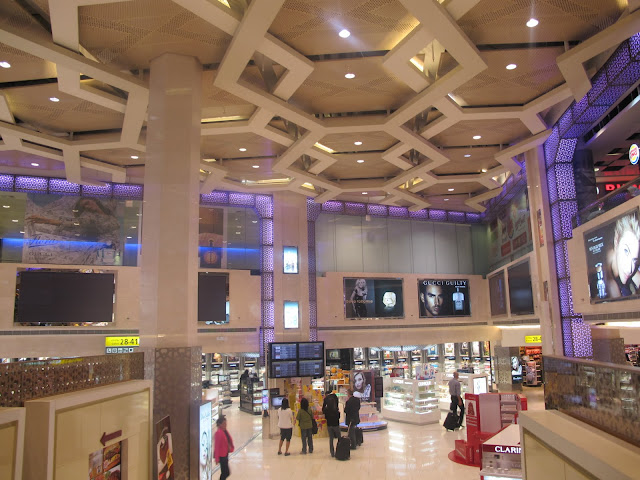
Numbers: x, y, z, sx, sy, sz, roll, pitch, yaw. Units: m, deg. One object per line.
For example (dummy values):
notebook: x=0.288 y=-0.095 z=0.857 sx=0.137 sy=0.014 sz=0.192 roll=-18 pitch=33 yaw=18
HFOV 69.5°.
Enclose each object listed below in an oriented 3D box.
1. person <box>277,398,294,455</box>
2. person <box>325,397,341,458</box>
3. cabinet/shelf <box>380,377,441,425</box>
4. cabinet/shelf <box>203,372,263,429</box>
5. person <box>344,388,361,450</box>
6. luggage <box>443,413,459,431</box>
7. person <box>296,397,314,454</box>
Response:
person: x=-0.923 y=4.966 z=12.447 sx=0.425 sy=1.401 sz=0.972 roll=0 pitch=-11 yaw=-4
person: x=0.325 y=4.847 z=12.115 sx=0.404 sy=1.451 sz=0.909 roll=-1 pitch=-11 yaw=0
cabinet/shelf: x=3.109 y=5.400 z=15.642 sx=0.991 sy=1.443 sz=1.666 roll=6 pitch=-13 yaw=-34
cabinet/shelf: x=-3.222 y=5.930 z=17.356 sx=2.101 sy=1.374 sz=5.815 roll=1 pitch=-12 yaw=-11
person: x=0.927 y=4.949 z=12.559 sx=0.422 sy=1.320 sz=0.425 roll=1 pitch=-11 yaw=-10
luggage: x=4.019 y=5.501 z=13.989 sx=0.483 sy=0.534 sz=0.302 roll=-2 pitch=-11 yaw=6
person: x=-0.370 y=4.937 z=12.322 sx=0.417 sy=1.452 sz=0.731 roll=-1 pitch=-11 yaw=-1
